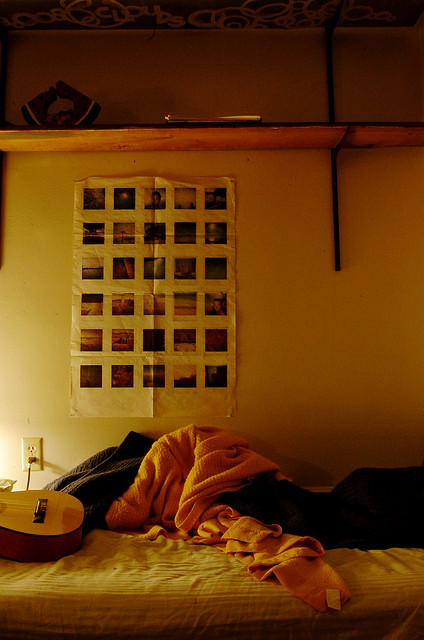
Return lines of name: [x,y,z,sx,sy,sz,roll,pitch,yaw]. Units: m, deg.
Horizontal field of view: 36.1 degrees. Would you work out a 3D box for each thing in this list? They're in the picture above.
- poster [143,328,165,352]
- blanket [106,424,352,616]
poster: [-0.215,0.077,2.411,0.103,0.079,0.021,0,-4,2]
blanket: [0.054,0.520,1.860,0.618,0.211,0.836,-3,12,-30]
